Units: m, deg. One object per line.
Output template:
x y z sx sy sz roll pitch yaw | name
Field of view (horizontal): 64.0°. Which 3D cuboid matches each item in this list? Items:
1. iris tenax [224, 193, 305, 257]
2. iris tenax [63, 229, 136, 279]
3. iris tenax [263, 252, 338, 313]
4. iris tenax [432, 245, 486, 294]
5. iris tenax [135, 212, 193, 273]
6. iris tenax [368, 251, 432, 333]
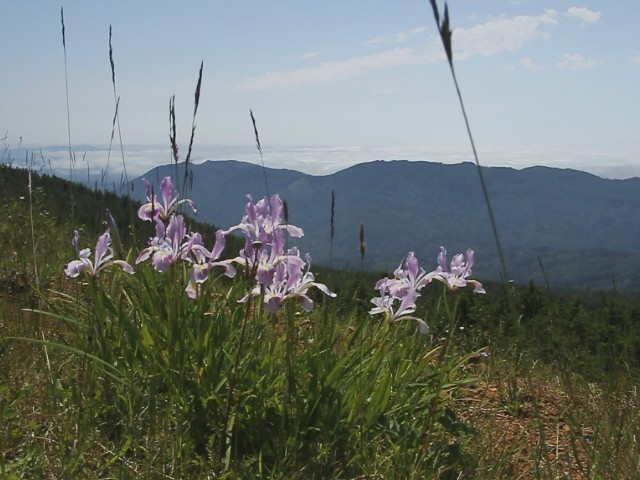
-0.381 -0.128 3.458 0.509 0.291 0.573 6 -9 -31 | iris tenax
-1.629 0.095 3.774 0.419 0.323 0.607 -2 2 -26 | iris tenax
-0.175 0.278 3.405 0.469 0.363 0.449 -2 2 -21 | iris tenax
1.063 0.239 3.994 0.432 0.252 0.453 -6 11 19 | iris tenax
-1.110 0.030 3.637 0.352 0.424 0.455 -1 2 -15 | iris tenax
0.710 0.393 4.089 0.485 0.619 0.516 -3 3 -44 | iris tenax
